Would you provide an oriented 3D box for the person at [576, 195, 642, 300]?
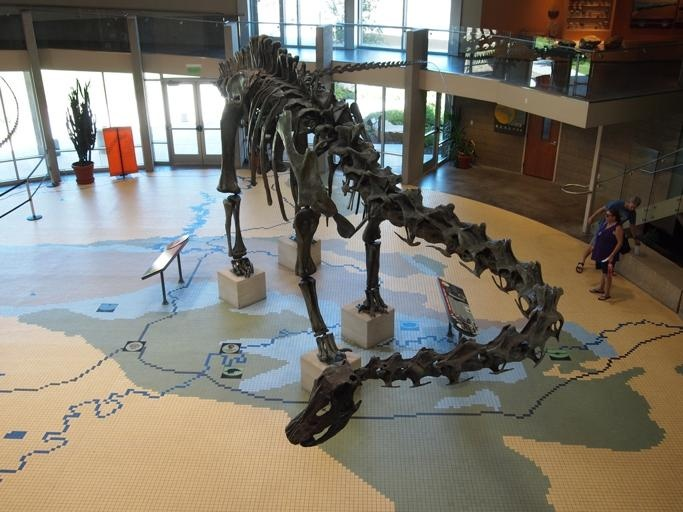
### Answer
[{"bbox_3d":[5.058,-0.110,8.605,1.263,2.068,0.880,0,52,23],"label":"person"}]

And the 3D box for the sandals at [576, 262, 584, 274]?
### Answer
[{"bbox_3d":[4.649,0.232,8.919,0.111,0.070,0.264,6,54,13],"label":"sandals"}]

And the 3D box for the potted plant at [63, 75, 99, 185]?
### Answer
[{"bbox_3d":[-7.499,-3.597,13.273,0.866,2.760,1.801,-11,26,-23],"label":"potted plant"}]

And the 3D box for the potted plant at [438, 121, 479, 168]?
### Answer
[{"bbox_3d":[3.698,-3.437,14.343,1.061,1.219,0.761,17,29,34],"label":"potted plant"}]
